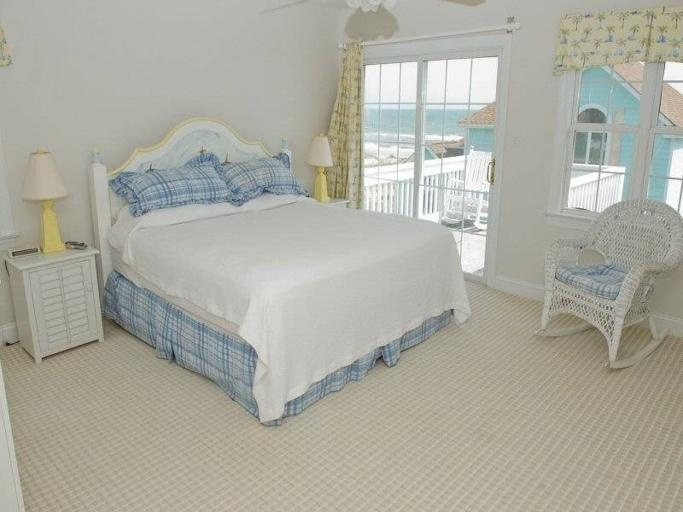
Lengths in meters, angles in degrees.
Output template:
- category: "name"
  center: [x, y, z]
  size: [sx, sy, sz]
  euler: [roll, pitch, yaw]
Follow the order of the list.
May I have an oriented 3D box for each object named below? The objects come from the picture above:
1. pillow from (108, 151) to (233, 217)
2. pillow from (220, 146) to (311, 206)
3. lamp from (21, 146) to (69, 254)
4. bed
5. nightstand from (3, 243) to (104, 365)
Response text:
- category: "pillow"
  center: [-1.497, -0.662, 4.371]
  size: [0.828, 0.210, 0.556]
  euler: [-14, 53, -39]
- category: "pillow"
  center: [-0.837, -0.816, 4.948]
  size: [0.644, 0.182, 0.619]
  euler: [-13, 47, -30]
- category: "lamp"
  center: [-2.467, -0.470, 3.924]
  size: [0.300, 0.822, 0.428]
  euler: [-13, 22, -32]
- category: "bed"
  center: [-0.662, -0.238, 4.421]
  size: [2.268, 1.825, 2.961]
  euler: [-18, 26, -41]
- category: "nightstand"
  center: [-2.380, 0.393, 3.872]
  size: [0.573, 1.023, 0.703]
  euler: [10, 18, 36]
